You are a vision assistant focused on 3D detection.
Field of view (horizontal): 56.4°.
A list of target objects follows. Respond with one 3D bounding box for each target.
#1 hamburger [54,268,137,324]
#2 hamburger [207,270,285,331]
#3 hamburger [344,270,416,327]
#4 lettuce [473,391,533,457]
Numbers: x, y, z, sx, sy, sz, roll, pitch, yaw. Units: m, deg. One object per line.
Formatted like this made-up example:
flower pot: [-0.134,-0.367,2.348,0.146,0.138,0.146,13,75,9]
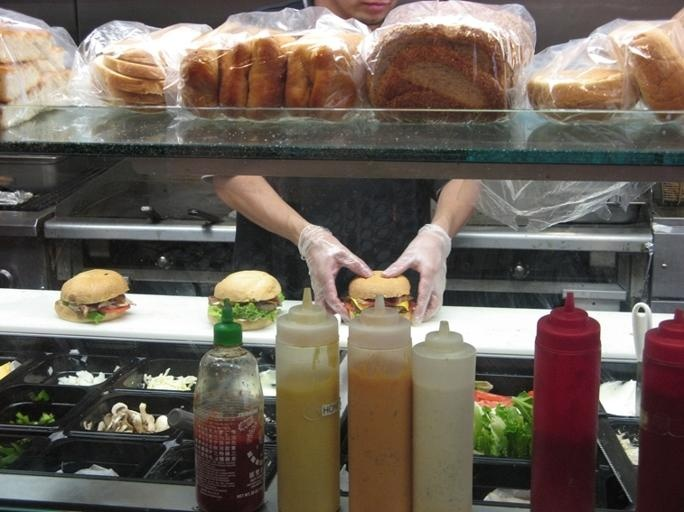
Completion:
hamburger: [-0.826,0.132,2.138,0.232,0.122,0.248,-11,23,-41]
hamburger: [-0.329,0.139,2.198,0.252,0.170,0.275,9,10,16]
hamburger: [0.130,0.132,2.141,0.187,0.122,0.182,-1,4,-44]
lettuce: [0.313,0.337,1.280,0.127,0.043,0.127,2,4,22]
